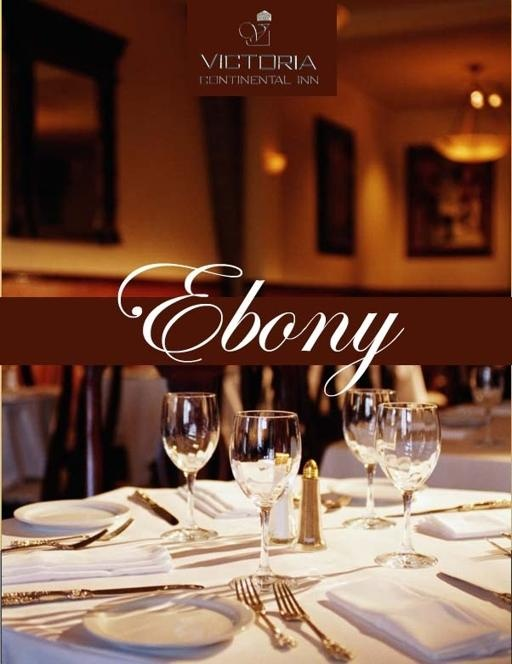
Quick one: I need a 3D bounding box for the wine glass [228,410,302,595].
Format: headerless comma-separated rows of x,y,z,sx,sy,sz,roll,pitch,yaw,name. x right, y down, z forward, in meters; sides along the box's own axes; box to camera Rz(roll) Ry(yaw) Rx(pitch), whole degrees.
0.007,0.183,0.694,0.065,0.183,0.072,1,-1,-44,wine glass

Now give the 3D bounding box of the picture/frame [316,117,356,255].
0.631,-1.138,4.893,0.468,1.053,0.210,1,-1,-33,picture/frame

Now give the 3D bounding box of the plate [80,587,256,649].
-0.078,0.259,0.568,0.151,0.017,0.117,0,-1,4,plate

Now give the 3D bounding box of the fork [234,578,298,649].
0.009,0.262,0.608,0.019,0.021,0.144,3,12,-14,fork

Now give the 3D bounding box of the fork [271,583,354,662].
0.055,0.262,0.574,0.020,0.017,0.117,5,7,-12,fork
